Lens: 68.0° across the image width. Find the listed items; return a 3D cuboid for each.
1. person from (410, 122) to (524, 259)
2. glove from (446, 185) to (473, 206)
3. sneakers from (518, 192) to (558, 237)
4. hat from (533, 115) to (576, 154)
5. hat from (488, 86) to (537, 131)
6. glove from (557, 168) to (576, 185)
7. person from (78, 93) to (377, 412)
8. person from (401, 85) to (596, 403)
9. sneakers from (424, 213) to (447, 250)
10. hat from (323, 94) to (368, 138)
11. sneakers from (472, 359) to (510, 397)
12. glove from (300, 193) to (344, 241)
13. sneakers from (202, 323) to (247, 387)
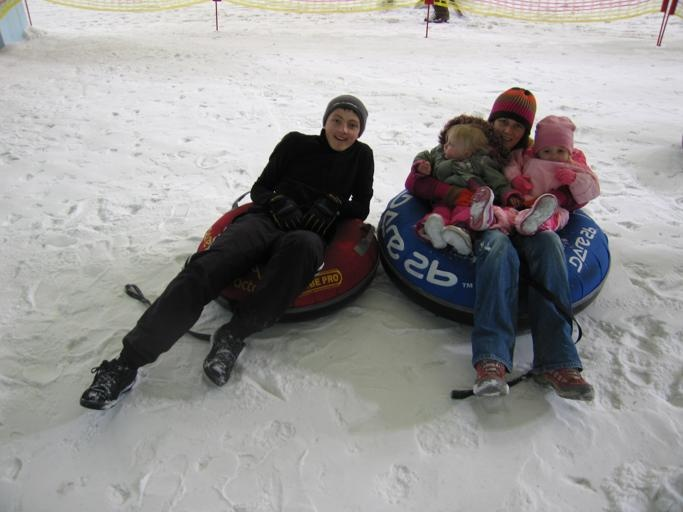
[{"bbox_3d":[0.831,-0.481,3.302,0.657,0.522,0.959,5,37,14],"label":"person"},{"bbox_3d":[0.774,-0.396,3.282,0.124,0.048,0.140,-33,47,-24],"label":"glove"},{"bbox_3d":[1.164,-0.246,3.038,0.150,0.299,0.126,48,7,1],"label":"sneakers"},{"bbox_3d":[1.479,-0.829,3.481,0.301,0.224,0.272,-2,9,-41],"label":"hat"},{"bbox_3d":[1.227,-1.064,3.596,0.335,0.261,0.326,10,17,-20],"label":"hat"},{"bbox_3d":[1.488,-0.529,3.300,0.124,0.097,0.038,2,57,29],"label":"glove"},{"bbox_3d":[-0.243,-0.222,3.292,0.960,0.889,2.711,35,49,-1],"label":"person"},{"bbox_3d":[0.811,-0.188,3.234,1.085,0.881,2.034,0,42,4],"label":"person"},{"bbox_3d":[0.597,-0.158,3.184,0.138,0.211,0.099,-16,2,26],"label":"sneakers"},{"bbox_3d":[0.023,-0.978,3.494,0.270,0.230,0.311,11,22,-8],"label":"hat"},{"bbox_3d":[0.818,0.662,2.749,0.173,0.168,0.164,7,31,8],"label":"sneakers"},{"bbox_3d":[-0.127,-0.255,3.287,0.238,0.128,0.306,25,53,24],"label":"glove"},{"bbox_3d":[-0.666,0.551,2.858,0.182,0.279,0.289,7,30,8],"label":"sneakers"}]
